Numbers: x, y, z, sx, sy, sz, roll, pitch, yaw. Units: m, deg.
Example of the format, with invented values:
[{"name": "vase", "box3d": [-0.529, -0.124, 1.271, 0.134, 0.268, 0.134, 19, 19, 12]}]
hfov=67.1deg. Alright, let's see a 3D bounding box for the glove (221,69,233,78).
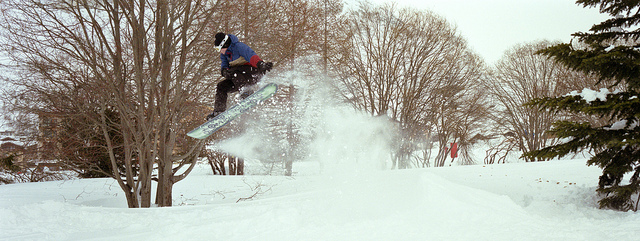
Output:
[{"name": "glove", "box3d": [-5.211, -2.651, 27.089, 0.753, 0.503, 0.165, -4, -7, 23]}]
